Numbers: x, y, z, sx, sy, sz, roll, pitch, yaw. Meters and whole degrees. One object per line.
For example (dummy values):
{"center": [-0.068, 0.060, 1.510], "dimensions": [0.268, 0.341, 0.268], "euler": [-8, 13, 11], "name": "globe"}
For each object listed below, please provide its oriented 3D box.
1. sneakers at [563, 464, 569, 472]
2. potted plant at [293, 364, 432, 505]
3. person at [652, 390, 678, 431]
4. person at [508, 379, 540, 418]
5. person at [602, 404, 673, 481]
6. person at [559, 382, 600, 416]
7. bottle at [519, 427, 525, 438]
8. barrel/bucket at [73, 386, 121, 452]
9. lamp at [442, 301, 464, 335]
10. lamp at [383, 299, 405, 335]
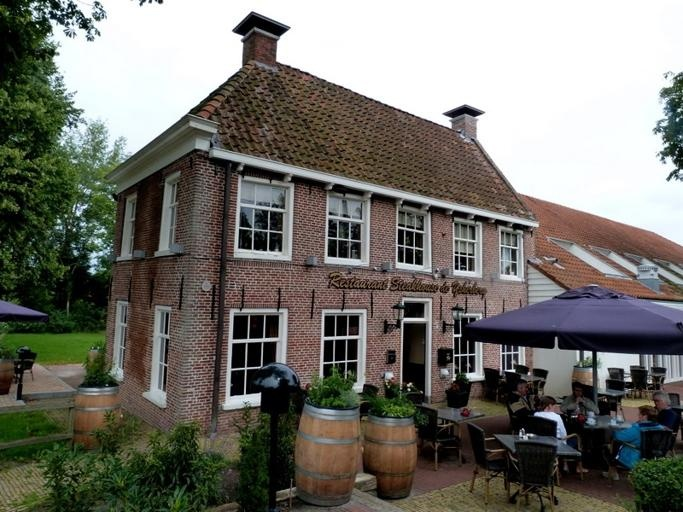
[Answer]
{"center": [5.221, 4.973, 12.884], "dimensions": [0.142, 0.120, 0.133], "euler": [3, -5, -41], "name": "sneakers"}
{"center": [0.453, 3.752, 11.843], "dimensions": [2.918, 2.201, 2.671], "euler": [2, -10, 1], "name": "potted plant"}
{"center": [7.866, 3.786, 13.404], "dimensions": [0.638, 0.986, 1.151], "euler": [-1, -17, 35], "name": "person"}
{"center": [5.116, 4.141, 15.523], "dimensions": [0.876, 1.276, 0.980], "euler": [-6, 12, 4], "name": "person"}
{"center": [6.824, 4.321, 12.495], "dimensions": [1.314, 1.610, 1.103], "euler": [19, -14, -18], "name": "person"}
{"center": [5.980, 3.658, 14.043], "dimensions": [0.928, 0.734, 0.460], "euler": [1, -2, -3], "name": "person"}
{"center": [3.919, 3.851, 11.948], "dimensions": [0.124, 0.176, 0.250], "euler": [0, -11, 17], "name": "bottle"}
{"center": [-5.911, 3.855, 13.186], "dimensions": [0.954, 1.445, 0.433], "euler": [8, -12, -22], "name": "barrel/bucket"}
{"center": [3.938, 2.171, 19.078], "dimensions": [0.571, 0.994, 0.955], "euler": [-4, -13, 34], "name": "lamp"}
{"center": [1.688, 1.935, 17.401], "dimensions": [0.713, 1.069, 0.290], "euler": [11, -14, -35], "name": "lamp"}
